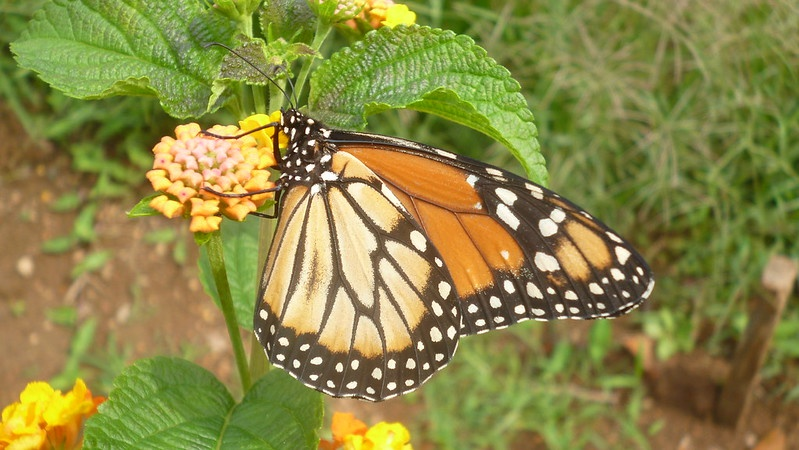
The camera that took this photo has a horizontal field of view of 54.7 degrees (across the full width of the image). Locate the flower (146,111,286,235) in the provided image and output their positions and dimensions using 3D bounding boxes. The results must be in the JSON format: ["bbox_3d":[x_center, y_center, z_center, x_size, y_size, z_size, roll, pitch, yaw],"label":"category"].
[{"bbox_3d":[-0.792,-0.194,3.278,0.515,0.146,0.470,-3,72,-3],"label":"flower"}]
